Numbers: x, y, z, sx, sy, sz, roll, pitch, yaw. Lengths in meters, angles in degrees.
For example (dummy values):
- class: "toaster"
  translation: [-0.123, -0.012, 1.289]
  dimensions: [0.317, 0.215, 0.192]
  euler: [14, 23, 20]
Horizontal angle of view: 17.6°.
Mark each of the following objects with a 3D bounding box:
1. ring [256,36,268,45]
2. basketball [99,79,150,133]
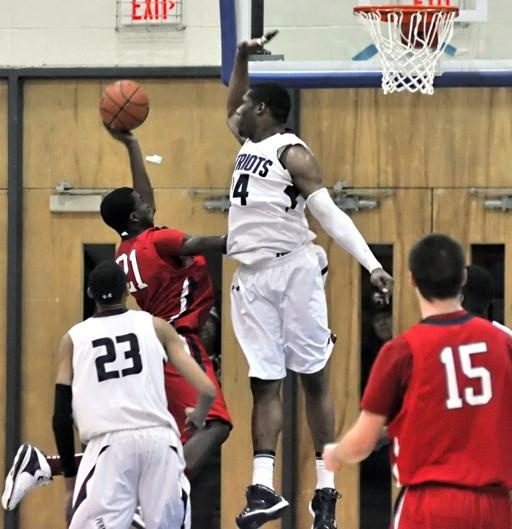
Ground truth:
- class: "ring"
  translation: [0.029, -1.287, 9.614]
  dimensions: [0.028, 0.038, 0.087]
  euler: [22, 15, -8]
- class: "basketball"
  translation: [-0.810, -0.992, 10.235]
  dimensions: [0.289, 0.299, 0.303]
  euler: [9, 17, 33]
